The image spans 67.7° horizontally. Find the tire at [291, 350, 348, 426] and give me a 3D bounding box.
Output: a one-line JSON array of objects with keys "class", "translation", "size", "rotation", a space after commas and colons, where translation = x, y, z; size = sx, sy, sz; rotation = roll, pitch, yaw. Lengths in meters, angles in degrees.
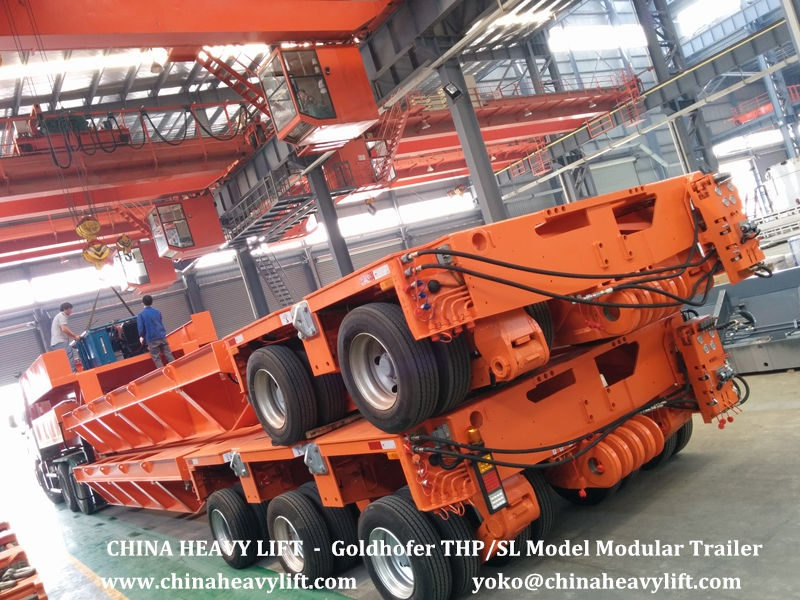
[{"class": "tire", "translation": [-0.854, 0.892, 6.127], "size": [0.302, 0.753, 0.857], "rotation": [-18, 20, -33]}]

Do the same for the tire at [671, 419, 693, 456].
[{"class": "tire", "translation": [3.270, 1.591, 6.914], "size": [0.181, 0.399, 0.383], "rotation": [10, -4, 10]}]

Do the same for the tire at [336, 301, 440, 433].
[{"class": "tire", "translation": [-0.063, 0.607, 5.516], "size": [0.546, 1.217, 1.395], "rotation": [-15, 11, -32]}]

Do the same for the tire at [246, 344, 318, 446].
[{"class": "tire", "translation": [-1.282, 1.049, 6.598], "size": [0.463, 1.038, 1.173], "rotation": [-14, -2, -35]}]

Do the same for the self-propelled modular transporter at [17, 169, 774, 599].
[{"class": "self-propelled modular transporter", "translation": [-3.244, 1.951, 9.701], "size": [15.861, 3.726, 3.513], "rotation": [-11, 7, 38]}]

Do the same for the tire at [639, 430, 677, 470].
[{"class": "tire", "translation": [2.986, 1.739, 6.844], "size": [0.165, 0.407, 0.480], "rotation": [-1, -3, 33]}]

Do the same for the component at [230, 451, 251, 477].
[{"class": "component", "translation": [-1.918, 1.969, 7.084], "size": [0.110, 0.349, 0.247], "rotation": [-22, -29, -46]}]

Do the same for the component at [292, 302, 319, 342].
[{"class": "component", "translation": [-0.954, 0.203, 5.843], "size": [0.270, 0.402, 0.122], "rotation": [-15, 5, 31]}]

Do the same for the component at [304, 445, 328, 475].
[{"class": "component", "translation": [-0.839, 1.608, 6.024], "size": [0.160, 0.296, 0.347], "rotation": [-20, -3, -29]}]
